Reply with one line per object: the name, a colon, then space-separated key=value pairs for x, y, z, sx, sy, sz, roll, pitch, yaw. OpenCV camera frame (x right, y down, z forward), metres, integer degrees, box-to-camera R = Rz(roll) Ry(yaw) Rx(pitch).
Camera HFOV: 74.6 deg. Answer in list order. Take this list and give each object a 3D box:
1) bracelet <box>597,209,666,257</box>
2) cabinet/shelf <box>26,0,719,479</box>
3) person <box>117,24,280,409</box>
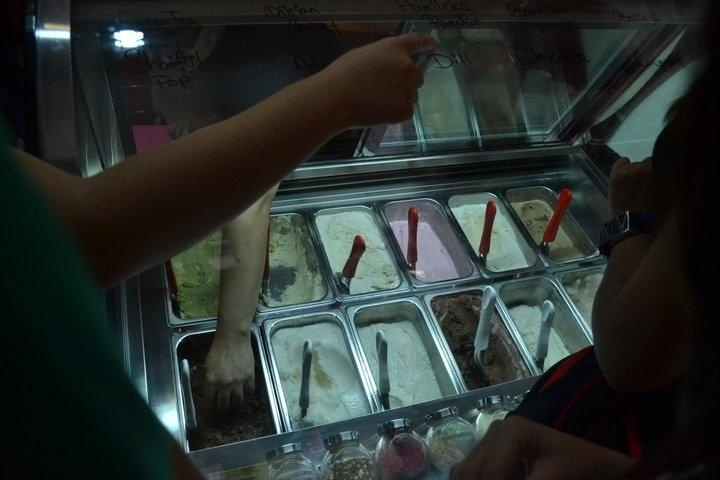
bracelet: x=0.524 y=-0.007 z=0.898 sx=0.096 sy=0.087 sz=0.044 roll=-49 pitch=-42 yaw=-7
cabinet/shelf: x=-0.050 y=0.044 z=0.926 sx=0.816 sy=0.863 sz=0.215 roll=-11 pitch=-48 yaw=-16
person: x=-0.366 y=-0.099 z=1.323 sx=0.303 sy=0.313 sz=1.193 roll=-2 pitch=-73 yaw=-5
